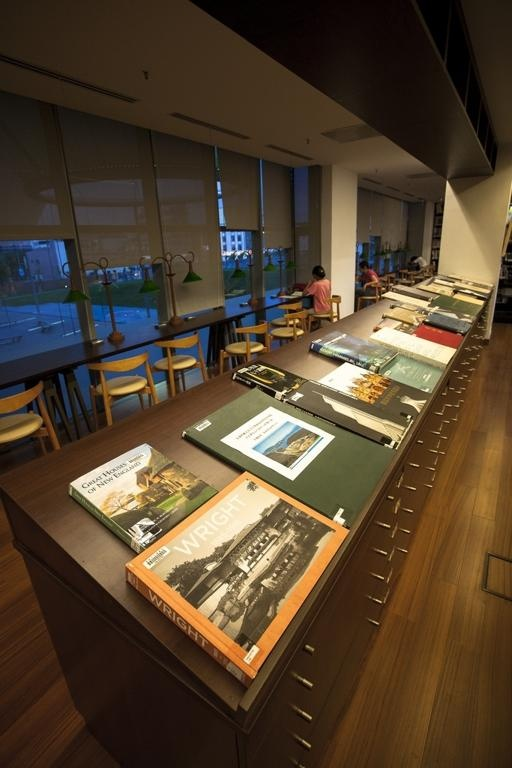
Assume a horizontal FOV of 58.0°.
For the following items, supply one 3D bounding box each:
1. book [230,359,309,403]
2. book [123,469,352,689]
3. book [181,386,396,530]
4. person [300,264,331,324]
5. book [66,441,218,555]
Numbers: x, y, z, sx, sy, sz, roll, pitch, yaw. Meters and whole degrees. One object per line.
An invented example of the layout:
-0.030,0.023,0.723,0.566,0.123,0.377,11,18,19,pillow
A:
0.035,-0.016,1.699,0.201,0.040,0.144,19,30,28,book
-0.022,0.361,0.960,0.299,0.151,0.372,6,21,38,book
0.129,0.189,1.265,0.397,0.046,0.299,29,37,29,book
0.770,-1.140,5.933,0.352,0.731,0.447,-21,29,-33,person
-0.266,0.259,1.090,0.219,0.038,0.205,27,35,32,book
